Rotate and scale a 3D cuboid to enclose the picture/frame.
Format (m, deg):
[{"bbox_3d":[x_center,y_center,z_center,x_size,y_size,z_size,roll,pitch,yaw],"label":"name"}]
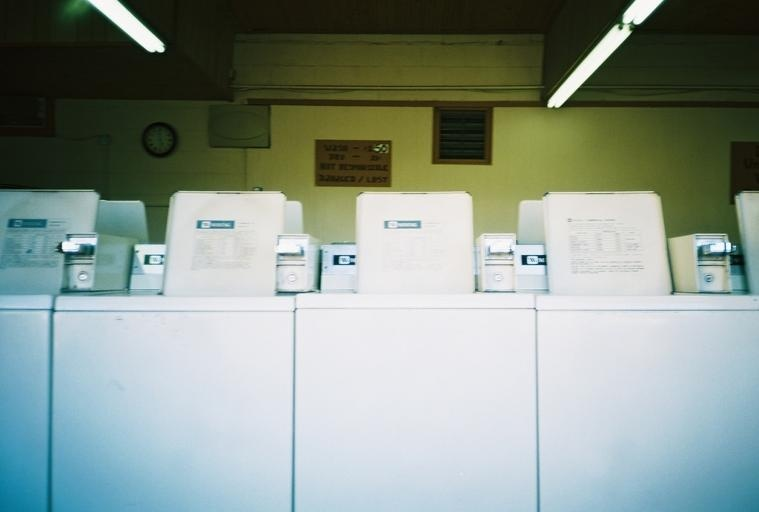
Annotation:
[{"bbox_3d":[0.797,-1.143,6.004,0.643,0.611,0.055,-3,2,-4],"label":"picture/frame"}]
